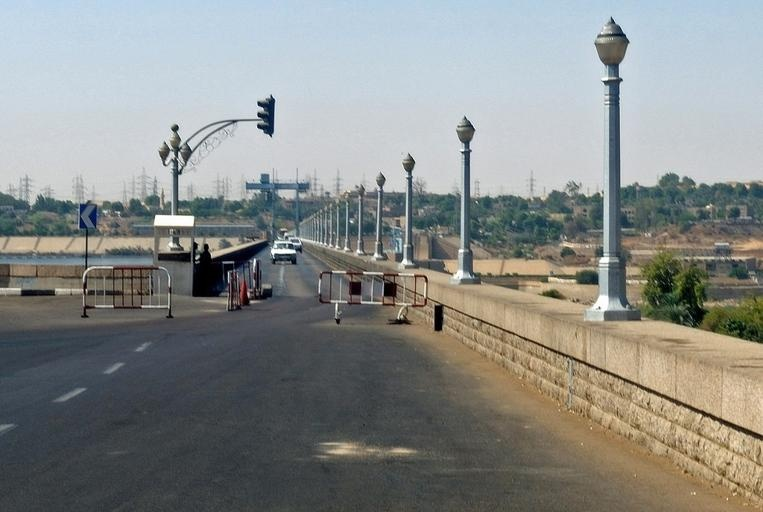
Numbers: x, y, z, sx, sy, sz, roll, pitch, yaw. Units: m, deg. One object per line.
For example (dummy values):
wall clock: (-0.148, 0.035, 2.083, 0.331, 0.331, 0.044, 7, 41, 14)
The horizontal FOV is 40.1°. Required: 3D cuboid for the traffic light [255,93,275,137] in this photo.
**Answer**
traffic light: (-4.587, -5.483, 41.504, 0.651, 1.870, 0.374, 2, -6, -10)
